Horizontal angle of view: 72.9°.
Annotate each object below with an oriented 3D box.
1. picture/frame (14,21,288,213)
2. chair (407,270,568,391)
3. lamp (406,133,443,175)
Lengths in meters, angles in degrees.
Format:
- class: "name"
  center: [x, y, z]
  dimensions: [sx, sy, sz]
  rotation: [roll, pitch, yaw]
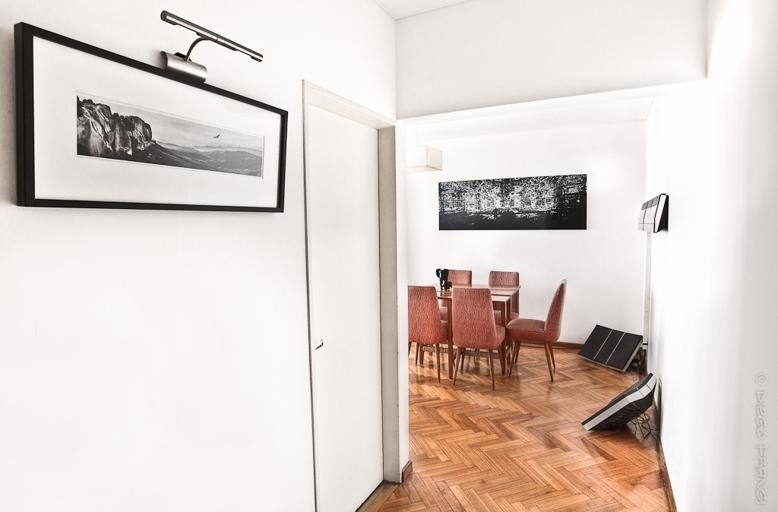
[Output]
- class: "picture/frame"
  center: [-0.880, -0.485, 2.253]
  dimensions: [0.046, 0.589, 1.239]
  rotation: [5, 4, 33]
- class: "chair"
  center: [1.128, 0.798, 5.472]
  dimensions: [1.217, 0.781, 1.240]
  rotation: [0, 1, 10]
- class: "lamp"
  center: [0.376, -1.102, 5.921]
  dimensions: [0.283, 0.269, 0.450]
  rotation: [5, 10, 31]
